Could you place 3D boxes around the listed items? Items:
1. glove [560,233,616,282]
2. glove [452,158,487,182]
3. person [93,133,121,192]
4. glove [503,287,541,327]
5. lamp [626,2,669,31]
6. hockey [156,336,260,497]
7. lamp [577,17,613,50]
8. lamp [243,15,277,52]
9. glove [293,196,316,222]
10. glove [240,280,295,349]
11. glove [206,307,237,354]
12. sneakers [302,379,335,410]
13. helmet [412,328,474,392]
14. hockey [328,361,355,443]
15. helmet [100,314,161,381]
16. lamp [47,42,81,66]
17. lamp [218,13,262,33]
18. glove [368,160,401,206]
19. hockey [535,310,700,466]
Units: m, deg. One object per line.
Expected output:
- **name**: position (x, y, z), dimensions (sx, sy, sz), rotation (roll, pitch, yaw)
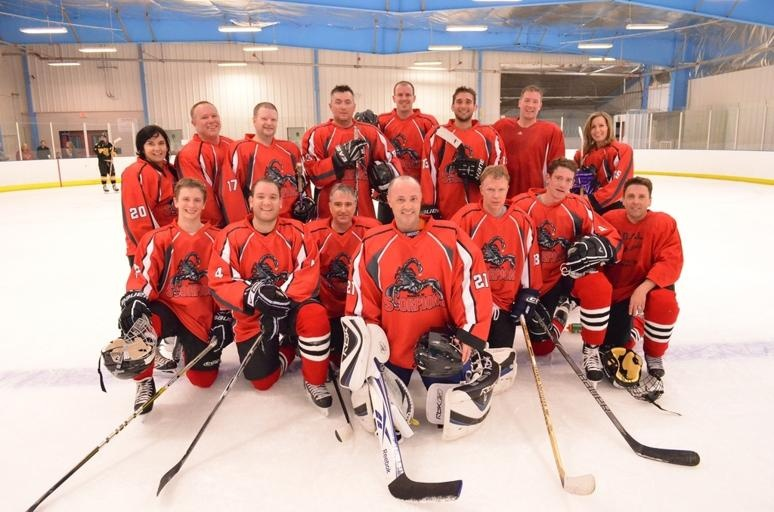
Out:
- **glove**: position (1.558, -0.020, 4.319), dimensions (0.406, 0.172, 0.292), rotation (-23, 23, -1)
- **glove**: position (0.773, -0.817, 5.100), dimensions (0.215, 0.117, 0.284), rotation (-1, 13, -19)
- **person**: position (-7.516, -2.519, 14.629), dimensions (0.459, 1.454, 1.388), rotation (-10, 18, -25)
- **glove**: position (1.069, 0.399, 4.319), dimensions (0.188, 0.298, 0.090), rotation (34, 3, -2)
- **lamp**: position (7.337, -6.395, 15.272), dimensions (0.950, 0.373, 4.605), rotation (6, 17, 25)
- **hockey**: position (-1.130, 0.887, 4.083), dimensions (0.116, 0.218, 1.921), rotation (-34, 18, 32)
- **lamp**: position (6.428, -6.837, 16.929), dimensions (0.907, 0.231, 0.912), rotation (-5, 5, -26)
- **lamp**: position (-3.690, -6.537, 15.889), dimensions (1.365, 0.889, 0.704), rotation (-2, 8, -8)
- **glove**: position (-0.776, -0.445, 5.065), dimensions (0.179, 0.250, 0.106), rotation (29, -44, -28)
- **glove**: position (-0.871, 0.422, 4.046), dimensions (0.283, 0.470, 0.228), rotation (7, 19, 27)
- **glove**: position (-1.310, 0.576, 4.314), dimensions (0.245, 0.300, 0.110), rotation (-3, -18, 13)
- **sneakers**: position (-0.510, 1.027, 4.039), dimensions (0.109, 0.121, 0.316), rotation (-8, 7, -24)
- **helmet**: position (0.379, 0.742, 3.919), dimensions (0.451, 0.325, 0.389), rotation (22, -22, -14)
- **hockey**: position (-0.355, 1.070, 3.990), dimensions (0.142, 0.523, 0.141), rotation (-1, -29, -41)
- **helmet**: position (-1.853, 0.679, 3.957), dimensions (0.379, 0.177, 0.479), rotation (-1, 53, -4)
- **lamp**: position (-10.969, -6.856, 18.504), dimensions (0.969, 0.731, 1.735), rotation (-11, 19, -31)
- **lamp**: position (-4.085, -6.371, 15.139), dimensions (1.023, 0.501, 3.280), rotation (-5, 16, -12)
- **glove**: position (-0.079, -0.753, 5.366), dimensions (0.291, 0.363, 0.370), rotation (-11, 20, -27)
- **hockey**: position (1.688, 0.996, 4.029), dimensions (0.220, 0.259, 1.764), rotation (8, 23, -19)
